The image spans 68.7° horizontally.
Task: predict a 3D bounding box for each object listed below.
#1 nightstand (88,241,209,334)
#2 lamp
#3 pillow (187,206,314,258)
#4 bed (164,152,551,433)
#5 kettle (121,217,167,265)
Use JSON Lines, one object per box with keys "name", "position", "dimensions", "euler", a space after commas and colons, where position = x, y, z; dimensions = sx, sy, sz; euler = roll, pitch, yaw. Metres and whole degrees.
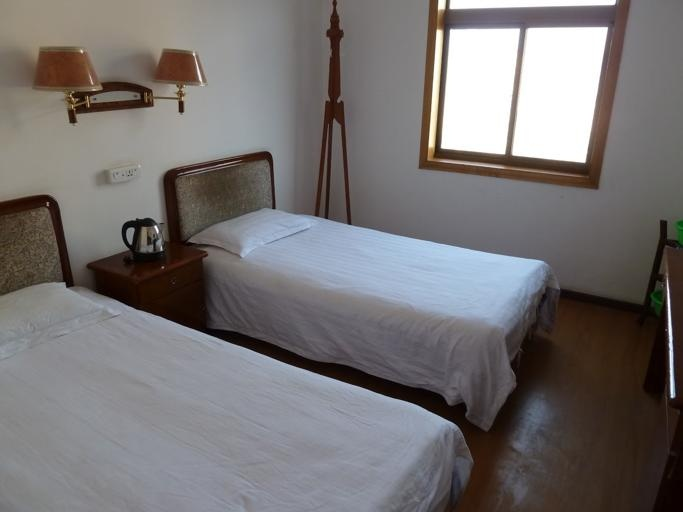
{"name": "nightstand", "position": [-1.440, 0.223, 3.737], "dimensions": [0.559, 0.615, 0.686], "euler": [14, 21, 29]}
{"name": "lamp", "position": [-1.444, -1.135, 3.367], "dimensions": [0.383, 0.504, 1.171], "euler": [22, 29, 33]}
{"name": "pillow", "position": [-0.688, -0.230, 4.279], "dimensions": [0.445, 0.133, 0.741], "euler": [17, 29, 29]}
{"name": "bed", "position": [0.146, 0.236, 3.679], "dimensions": [3.073, 0.898, 2.025], "euler": [13, 23, 27]}
{"name": "kettle", "position": [-1.428, -0.127, 3.609], "dimensions": [0.185, 0.353, 0.254], "euler": [15, 19, 29]}
